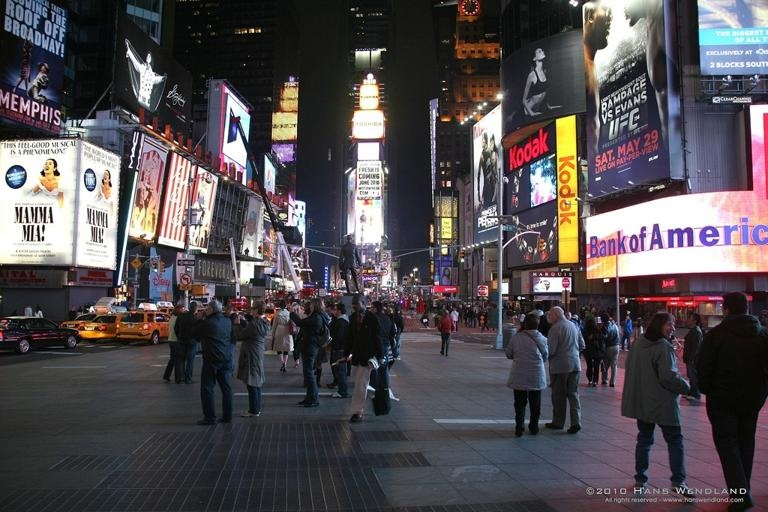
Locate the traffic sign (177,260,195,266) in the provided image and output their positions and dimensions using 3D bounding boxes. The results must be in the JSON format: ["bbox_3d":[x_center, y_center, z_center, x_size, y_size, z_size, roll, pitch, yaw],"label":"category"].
[{"bbox_3d":[-11.656,0.426,35.499,0.924,0.339,0.494,-1,-6,10],"label":"traffic sign"}]

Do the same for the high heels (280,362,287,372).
[{"bbox_3d":[-3.770,4.200,22.748,0.172,0.250,0.585,4,-5,-6],"label":"high heels"}]
